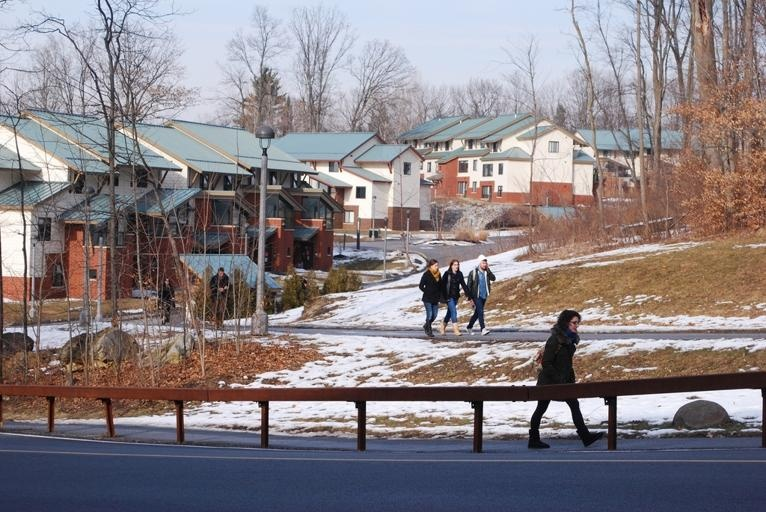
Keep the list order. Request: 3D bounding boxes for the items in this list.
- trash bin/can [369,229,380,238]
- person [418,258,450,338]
[{"bbox_3d":[-0.555,-1.555,123.097,0.665,0.496,0.663,-2,-1,22],"label":"trash bin/can"},{"bbox_3d":[2.040,1.729,67.470,1.131,2.975,0.973,2,1,22],"label":"person"}]
